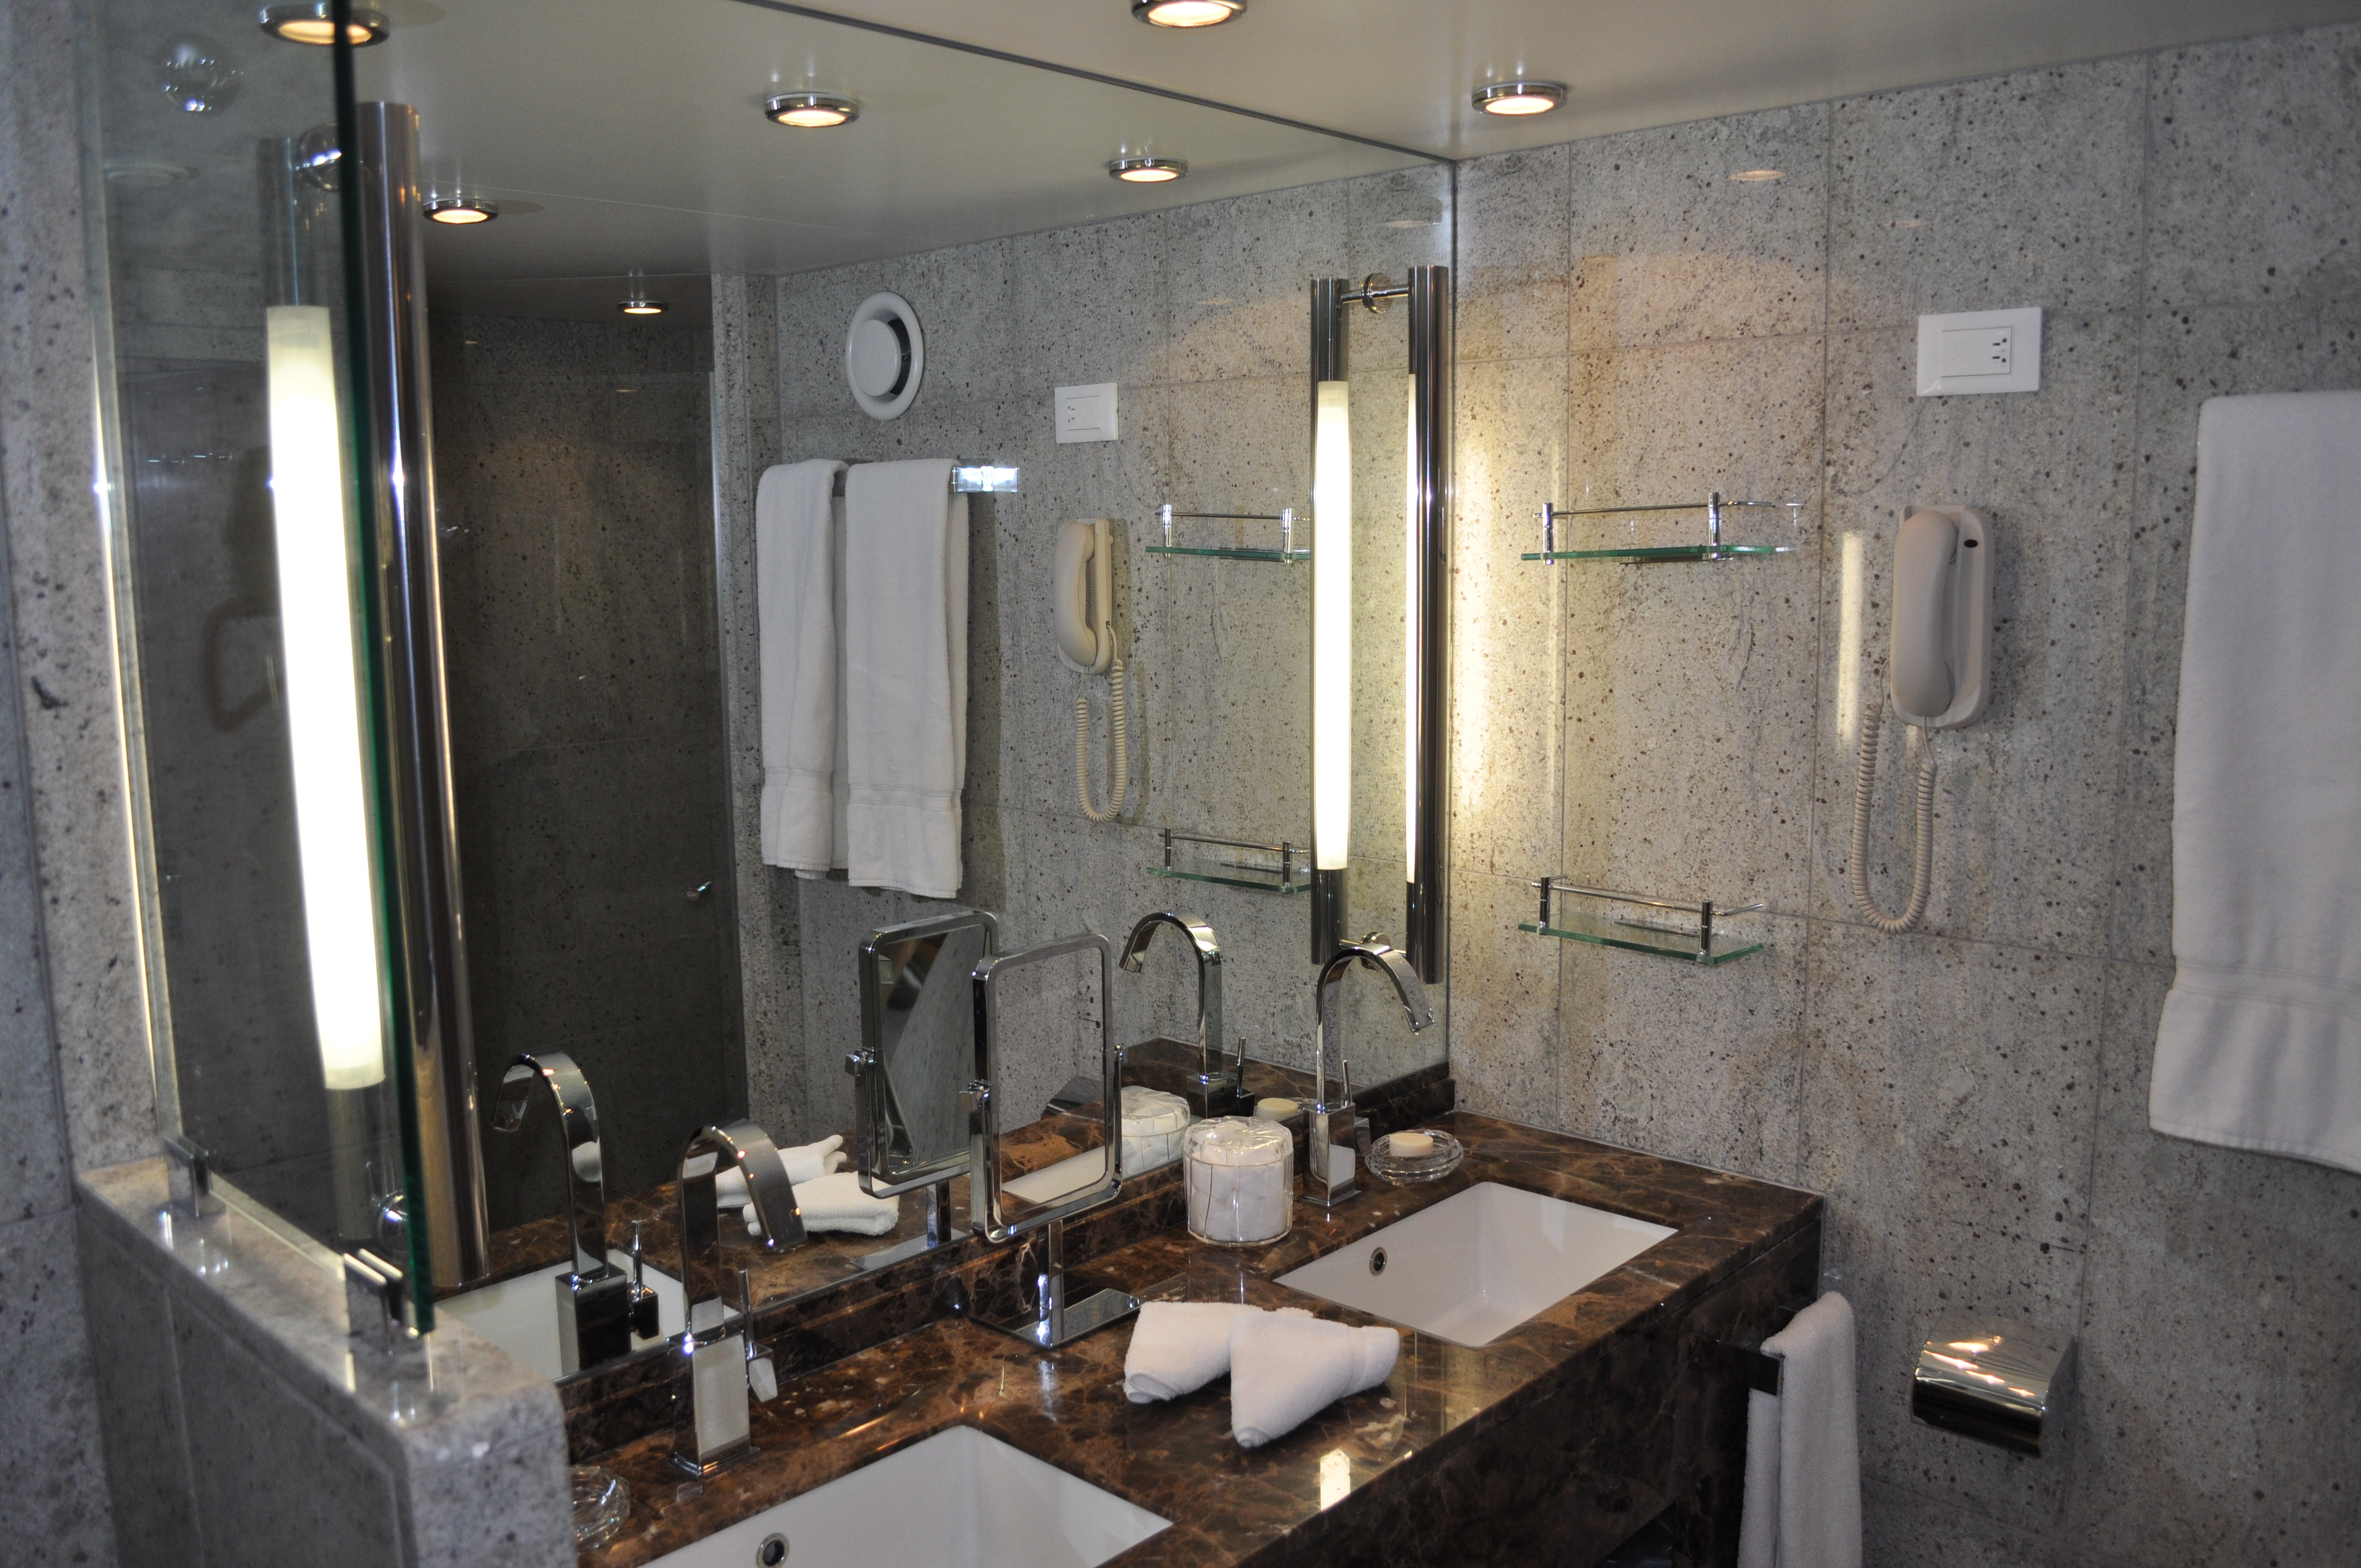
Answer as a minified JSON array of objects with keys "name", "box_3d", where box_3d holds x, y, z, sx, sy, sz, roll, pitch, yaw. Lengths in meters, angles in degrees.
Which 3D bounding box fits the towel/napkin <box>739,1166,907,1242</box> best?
[{"name":"towel/napkin","box_3d":[-0.494,0.566,2.423,0.151,0.048,0.152,-1,3,-28]}]

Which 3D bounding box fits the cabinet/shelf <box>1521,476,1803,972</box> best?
[{"name":"cabinet/shelf","box_3d":[0.761,-0.084,2.926,0.464,0.763,0.335,1,9,22]}]

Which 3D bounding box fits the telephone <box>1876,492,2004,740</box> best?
[{"name":"telephone","box_3d":[1.156,-0.245,2.725,0.148,0.343,0.090,1,10,24]}]

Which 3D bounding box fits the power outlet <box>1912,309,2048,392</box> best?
[{"name":"power outlet","box_3d":[1.205,-0.649,2.693,0.129,0.096,0.017,5,8,41]}]

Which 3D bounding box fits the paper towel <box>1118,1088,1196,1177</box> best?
[{"name":"paper towel","box_3d":[-0.043,0.553,2.893,0.122,0.076,0.125,-2,8,-23]}]

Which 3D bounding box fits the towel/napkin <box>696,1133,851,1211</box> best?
[{"name":"towel/napkin","box_3d":[-0.542,0.523,2.423,0.092,0.044,0.109,6,8,31]}]
